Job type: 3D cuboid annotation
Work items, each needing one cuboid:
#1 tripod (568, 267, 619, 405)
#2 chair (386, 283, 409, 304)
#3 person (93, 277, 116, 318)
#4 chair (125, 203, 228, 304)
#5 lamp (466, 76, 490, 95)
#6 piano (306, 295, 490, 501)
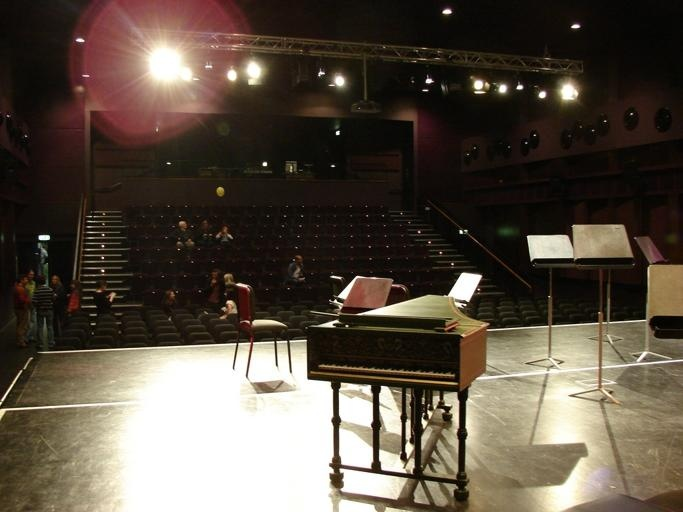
[{"bbox_3d":[2.734,0.781,5.257,0.551,1.434,0.531,2,-3,14],"label":"tripod"},{"bbox_3d":[0.600,0.394,5.299,0.180,0.253,0.208,-2,-9,22],"label":"chair"},{"bbox_3d":[-4.685,0.841,10.019,0.434,0.836,0.434,-15,22,-41],"label":"person"},{"bbox_3d":[-3.990,-0.199,12.008,2.060,2.540,3.972,1,-3,-24],"label":"chair"},{"bbox_3d":[3.298,-4.070,12.233,0.378,0.399,0.392,23,27,2],"label":"lamp"},{"bbox_3d":[0.509,1.124,4.295,1.132,1.363,1.813,-2,-1,15],"label":"piano"}]
